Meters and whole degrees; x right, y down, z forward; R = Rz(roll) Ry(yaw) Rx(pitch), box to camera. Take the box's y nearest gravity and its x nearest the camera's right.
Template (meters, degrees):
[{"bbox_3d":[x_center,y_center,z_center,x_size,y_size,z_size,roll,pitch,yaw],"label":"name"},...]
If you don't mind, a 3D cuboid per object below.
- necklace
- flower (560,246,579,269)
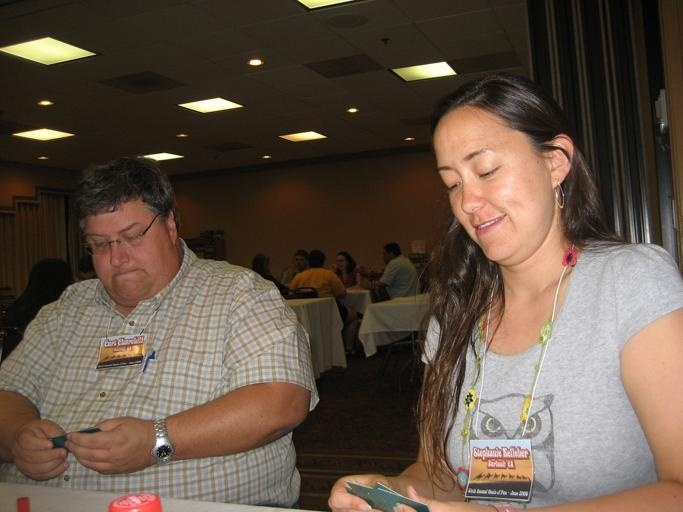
[{"bbox_3d":[0.460,0.306,1.319,0.345,0.462,0.236,-7,-4,24],"label":"necklace"},{"bbox_3d":[0.597,0.002,1.329,0.040,0.044,0.010,6,-15,42],"label":"flower"}]
